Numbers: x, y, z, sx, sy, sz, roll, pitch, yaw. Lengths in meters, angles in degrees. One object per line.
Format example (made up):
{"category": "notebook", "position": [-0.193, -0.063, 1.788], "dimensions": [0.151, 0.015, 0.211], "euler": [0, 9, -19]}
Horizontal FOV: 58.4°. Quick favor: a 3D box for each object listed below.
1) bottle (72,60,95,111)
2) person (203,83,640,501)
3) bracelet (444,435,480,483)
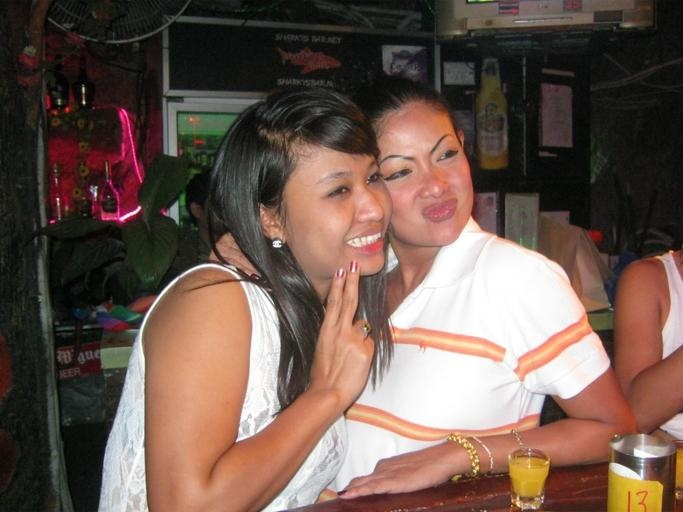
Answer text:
{"category": "bottle", "position": [-2.085, -1.385, 4.921], "dimensions": [0.153, 0.403, 0.276], "euler": [-1, 1, -24]}
{"category": "person", "position": [0.327, 0.156, 2.240], "dimensions": [1.192, 1.674, 1.084], "euler": [-6, -11, 37]}
{"category": "bracelet", "position": [0.402, 0.637, 1.945], "dimensions": [0.095, 0.114, 0.039], "euler": [-13, -26, 2]}
